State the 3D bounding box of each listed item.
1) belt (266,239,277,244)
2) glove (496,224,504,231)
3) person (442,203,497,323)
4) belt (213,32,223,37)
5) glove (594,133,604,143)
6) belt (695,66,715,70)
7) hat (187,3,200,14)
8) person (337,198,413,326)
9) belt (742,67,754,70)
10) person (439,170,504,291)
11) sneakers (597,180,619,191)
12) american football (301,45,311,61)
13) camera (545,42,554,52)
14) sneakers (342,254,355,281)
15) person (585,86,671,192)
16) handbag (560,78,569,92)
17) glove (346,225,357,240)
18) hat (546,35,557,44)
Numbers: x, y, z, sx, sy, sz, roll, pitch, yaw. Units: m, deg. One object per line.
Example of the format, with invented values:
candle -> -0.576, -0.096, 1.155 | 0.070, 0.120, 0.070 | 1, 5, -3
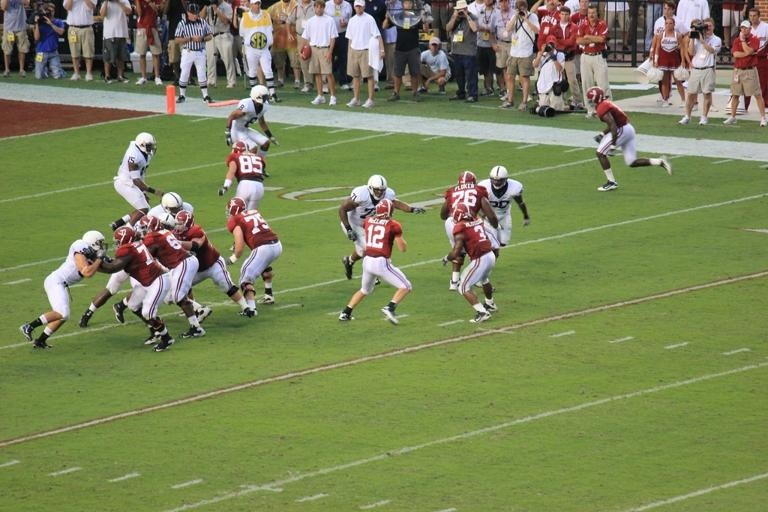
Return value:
belt -> -1.526, -0.197, 20.748 | 0.072, 0.063, 0.200 | 0, 3, 35
glove -> 1.681, -0.417, 21.680 | 0.084, 0.154, 0.052 | 2, 49, -13
person -> 1.187, 0.089, 20.326 | 0.651, 1.615, 0.635 | -3, 3, 4
belt -> -3.696, -5.036, 33.744 | 0.229, 0.080, 0.059 | -1, 3, 9
glove -> 3.579, -1.998, 25.069 | 0.128, 0.168, 0.079 | 7, -28, 18
belt -> 6.241, -3.689, 29.195 | 0.343, 0.073, 0.110 | -2, 3, 4
hat -> -4.076, -5.406, 32.461 | 0.252, 0.167, 0.322 | -8, 41, -16
person -> -0.063, 0.081, 20.247 | 0.884, 1.683, 0.543 | -1, 3, 30
belt -> 7.074, -3.675, 29.205 | 0.213, 0.046, 0.066 | -1, 3, 8
person -> 1.181, -0.334, 21.251 | 0.976, 1.608, 0.617 | -14, 28, -24
sneakers -> 3.815, -1.185, 25.277 | 0.401, 0.132, 0.132 | -9, 20, -28
american football -> -1.666, -4.482, 32.570 | 0.204, 0.311, 0.409 | -3, 3, -2
camera -> 3.346, -4.266, 30.351 | 0.103, 0.204, 0.214 | -1, 3, 40
sneakers -> -0.493, 0.187, 21.380 | 0.216, 0.330, 0.129 | 0, 21, 10
person -> 4.058, -1.981, 25.359 | 1.120, 1.741, 0.971 | -2, 3, 8
handbag -> 3.727, -3.551, 30.944 | 0.157, 0.259, 0.409 | -2, 3, 9
glove -> -0.446, -0.321, 21.078 | 0.207, 0.067, 0.153 | 42, 0, 35
hat -> 3.403, -4.443, 30.503 | 0.213, 0.201, 0.342 | -2, 3, 6
